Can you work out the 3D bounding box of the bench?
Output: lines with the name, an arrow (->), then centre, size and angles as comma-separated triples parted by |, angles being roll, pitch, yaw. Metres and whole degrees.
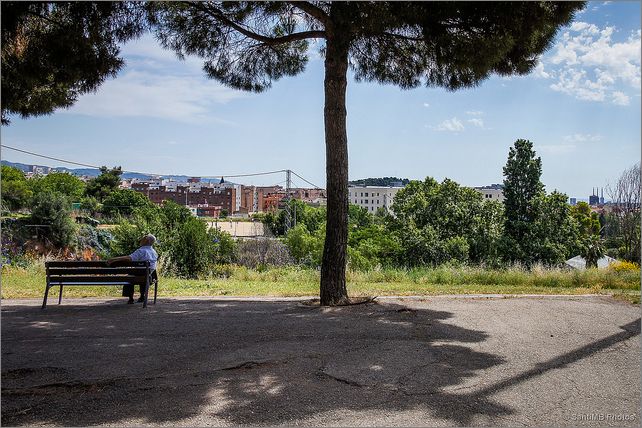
bench -> -6.205, 1.986, 17.712 | 2.885, 1.327, 1.005 | 1, -3, -4
